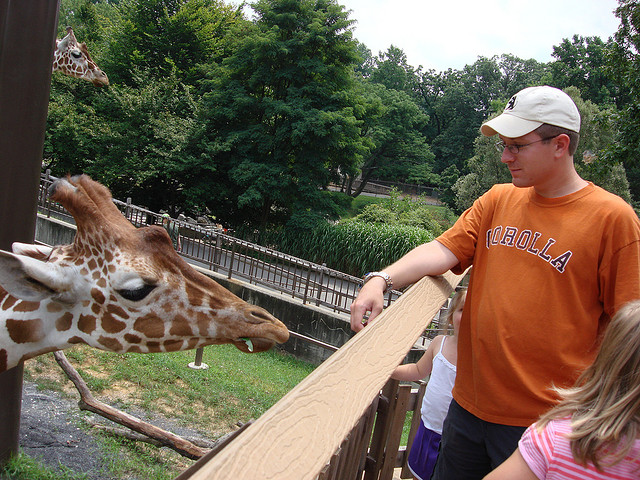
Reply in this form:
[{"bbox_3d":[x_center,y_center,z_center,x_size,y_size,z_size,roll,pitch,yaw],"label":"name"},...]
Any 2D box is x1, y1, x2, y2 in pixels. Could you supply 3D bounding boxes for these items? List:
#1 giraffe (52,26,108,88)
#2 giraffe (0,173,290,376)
[{"bbox_3d":[-5.214,-4.017,10.164,0.920,1.297,1.440,14,0,-36],"label":"giraffe"},{"bbox_3d":[-1.035,0.191,2.809,1.560,1.036,0.944,2,25,-14],"label":"giraffe"}]
